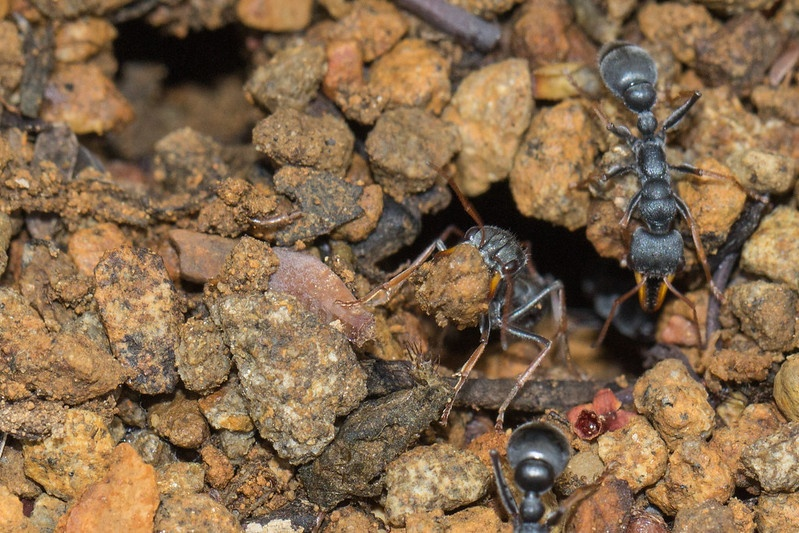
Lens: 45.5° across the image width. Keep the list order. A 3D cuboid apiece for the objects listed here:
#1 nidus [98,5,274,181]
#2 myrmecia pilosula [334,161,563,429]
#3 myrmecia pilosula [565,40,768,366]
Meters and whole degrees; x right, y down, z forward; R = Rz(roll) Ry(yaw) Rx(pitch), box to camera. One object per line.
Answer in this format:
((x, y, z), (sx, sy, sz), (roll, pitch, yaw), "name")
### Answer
((-2.044, -1.580, 9.178), (1.262, 1.441, 0.411), (-2, 29, -15), "nidus")
((0.693, 0.164, 8.048), (1.795, 2.010, 1.499), (38, 109, 24), "myrmecia pilosula")
((2.183, -0.635, 8.096), (1.677, 0.808, 2.920), (-3, 60, 10), "myrmecia pilosula")
